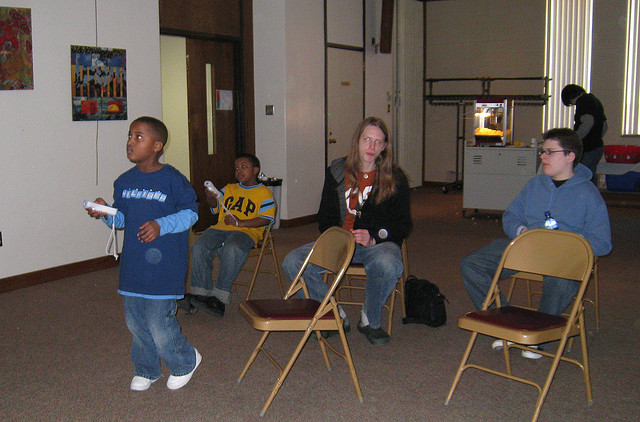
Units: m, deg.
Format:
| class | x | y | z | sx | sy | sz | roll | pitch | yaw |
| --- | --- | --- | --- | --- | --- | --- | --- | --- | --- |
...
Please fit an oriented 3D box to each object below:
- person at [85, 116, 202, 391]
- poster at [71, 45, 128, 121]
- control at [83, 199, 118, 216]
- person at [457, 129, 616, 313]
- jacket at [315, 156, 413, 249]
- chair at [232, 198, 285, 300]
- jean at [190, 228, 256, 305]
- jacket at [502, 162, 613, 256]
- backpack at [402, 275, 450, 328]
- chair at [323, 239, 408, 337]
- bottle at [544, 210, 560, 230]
| class | x | y | z | sx | sy | sz | roll | pitch | yaw |
| --- | --- | --- | --- | --- | --- | --- | --- | --- | --- |
| person | -1.319 | 0.296 | 3.512 | 0.891 | 1.876 | 0.545 | 7 | 16 | 30 |
| poster | -2.565 | -1.478 | 5.712 | 0.124 | 0.828 | 0.725 | 11 | 19 | 40 |
| control | -1.473 | -0.024 | 3.299 | 0.199 | 0.115 | 0.166 | -6 | 15 | -20 |
| person | 1.721 | 0.216 | 3.923 | 1.190 | 1.558 | 1.031 | 0 | 10 | 16 |
| jacket | 0.413 | -0.064 | 4.435 | 1.076 | 1.014 | 0.657 | 3 | 11 | 9 |
| chair | -0.778 | 0.372 | 5.051 | 0.702 | 1.039 | 0.673 | -1 | -8 | 9 |
| jean | -0.948 | 0.485 | 4.705 | 0.521 | 0.724 | 0.526 | 11 | -2 | 18 |
| jacket | 1.868 | -0.043 | 3.885 | 0.751 | 0.598 | 0.481 | 4 | 15 | 20 |
| backpack | 0.963 | 0.831 | 4.469 | 0.426 | 0.405 | 0.235 | 6 | 19 | 35 |
| chair | 0.419 | 0.706 | 4.807 | 0.727 | 1.286 | 0.859 | 0 | -3 | 17 |
| bottle | 1.822 | 0.065 | 3.888 | 0.100 | 0.121 | 0.167 | -5 | 15 | -13 |
